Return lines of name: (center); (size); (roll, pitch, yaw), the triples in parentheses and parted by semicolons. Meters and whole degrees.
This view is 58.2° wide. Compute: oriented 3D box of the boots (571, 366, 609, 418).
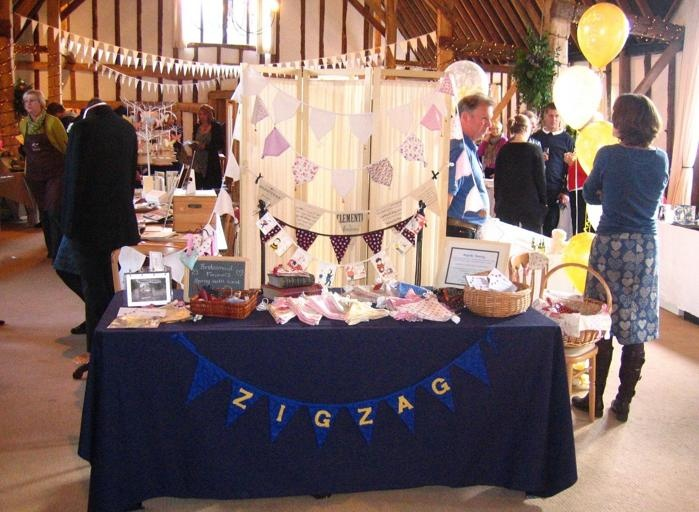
boots: (1.608, 0.879, 4.214); (0.100, 0.331, 0.235); (-7, 13, -42)

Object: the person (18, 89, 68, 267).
person: (-2.895, -0.681, 5.988); (0.344, 1.726, 1.803); (-3, 11, -27)

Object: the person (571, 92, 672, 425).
person: (1.739, 0.039, 3.995); (0.520, 2.088, 0.301); (4, 9, 16)

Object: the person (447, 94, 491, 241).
person: (0.844, -0.621, 4.394); (0.287, 0.988, 0.295); (4, 9, 13)

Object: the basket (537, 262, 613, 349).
basket: (1.434, 0.225, 4.118); (0.336, 0.388, 0.355); (6, -15, -8)

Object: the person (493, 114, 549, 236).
person: (1.721, -0.807, 6.285); (0.535, 1.155, 0.421); (4, 9, 16)

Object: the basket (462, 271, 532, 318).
basket: (0.800, 0.235, 3.389); (0.275, 0.135, 0.249); (-7, 15, -22)

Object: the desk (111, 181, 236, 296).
desk: (-0.949, -0.029, 3.855); (0.732, 0.502, 0.803); (1, 8, 1)

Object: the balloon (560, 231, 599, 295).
balloon: (1.638, 0.055, 4.449); (0.249, 0.386, 0.284); (-20, 1, 24)

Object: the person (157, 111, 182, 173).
person: (-3.637, -2.427, 12.562); (0.318, 0.965, 0.324); (5, 15, -3)
